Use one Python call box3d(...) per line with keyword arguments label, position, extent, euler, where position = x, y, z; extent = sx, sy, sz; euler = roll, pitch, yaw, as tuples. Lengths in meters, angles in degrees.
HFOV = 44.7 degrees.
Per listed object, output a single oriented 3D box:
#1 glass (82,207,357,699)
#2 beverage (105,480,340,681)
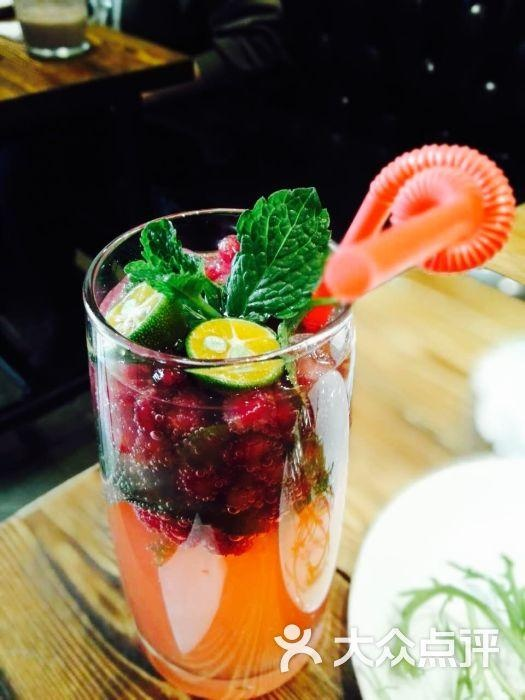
box3d(label="glass", position=(-0.043, 0.113, 0.523), extent=(0.235, 0.374, 0.182), euler=(16, 41, 10))
box3d(label="beverage", position=(-0.021, 0.153, 0.575), extent=(0.200, 0.195, 0.188), euler=(-4, 37, -2))
